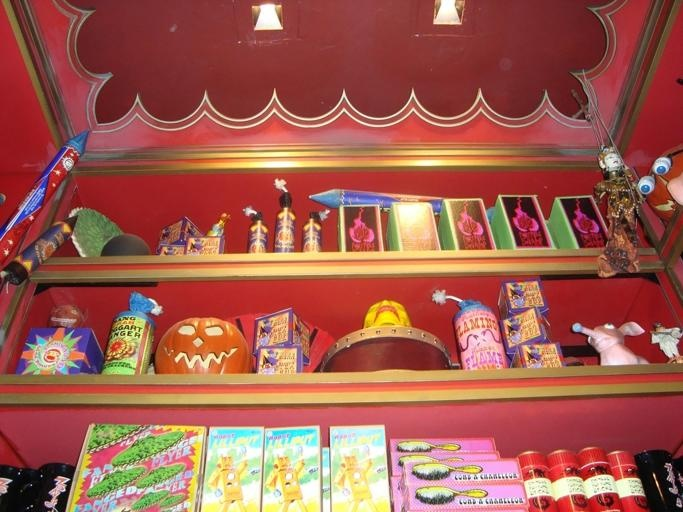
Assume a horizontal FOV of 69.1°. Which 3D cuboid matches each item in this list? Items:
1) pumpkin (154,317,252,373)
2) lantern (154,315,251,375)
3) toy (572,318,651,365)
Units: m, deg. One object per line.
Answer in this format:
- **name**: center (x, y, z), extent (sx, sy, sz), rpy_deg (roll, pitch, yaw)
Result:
- **pumpkin**: center (-0.581, 0.364, 2.026), extent (0.310, 0.296, 0.300), rpy_deg (10, -19, -32)
- **lantern**: center (-0.533, 0.345, 1.966), extent (0.284, 0.235, 0.270), rpy_deg (3, -6, 21)
- **toy**: center (1.129, 0.308, 2.024), extent (0.201, 0.291, 0.112), rpy_deg (-4, -67, 12)
